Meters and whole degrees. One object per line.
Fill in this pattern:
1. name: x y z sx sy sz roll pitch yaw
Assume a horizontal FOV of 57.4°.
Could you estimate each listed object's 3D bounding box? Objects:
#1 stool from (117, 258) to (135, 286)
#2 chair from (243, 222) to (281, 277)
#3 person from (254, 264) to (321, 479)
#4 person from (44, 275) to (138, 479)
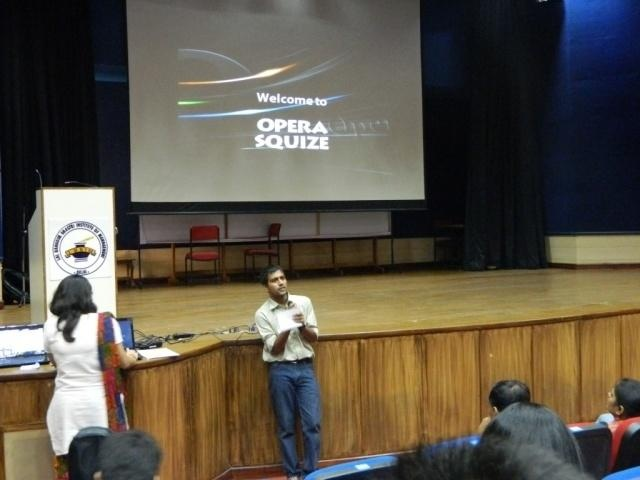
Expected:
1. stool: -2.894 0.448 8.805 0.374 0.433 0.361 0 2 -8
2. chair: -0.918 0.138 9.432 0.518 0.887 0.479 1 3 -16
3. person: -0.220 0.966 4.292 0.448 1.557 0.334 -4 -3 12
4. person: -1.376 0.725 3.428 0.469 1.028 0.183 -2 -3 -17
